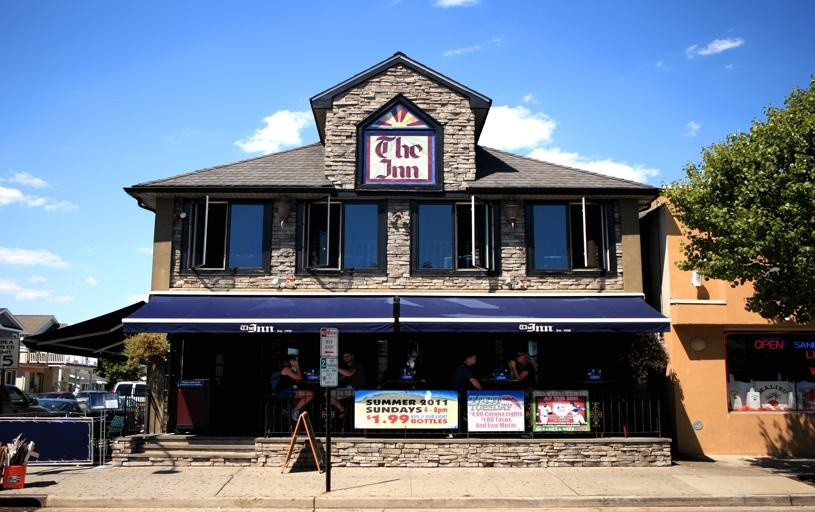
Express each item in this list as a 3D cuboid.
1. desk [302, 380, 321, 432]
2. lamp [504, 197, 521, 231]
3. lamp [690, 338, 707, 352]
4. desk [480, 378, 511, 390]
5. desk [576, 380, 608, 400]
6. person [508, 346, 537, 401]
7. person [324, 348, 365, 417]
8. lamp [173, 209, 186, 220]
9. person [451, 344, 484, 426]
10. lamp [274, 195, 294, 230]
[{"bbox_3d":[-3.089,4.850,29.408,0.572,1.678,1.302,-1,-12,-6],"label":"desk"},{"bbox_3d":[3.565,-1.390,30.620,0.520,1.108,0.291,-3,-12,6],"label":"lamp"},{"bbox_3d":[9.623,2.920,30.093,0.502,0.470,0.117,0,-12,-10],"label":"lamp"},{"bbox_3d":[2.902,4.143,29.635,0.942,0.402,0.782,-5,-11,18],"label":"desk"},{"bbox_3d":[6.069,4.334,29.598,0.728,0.407,0.732,0,-2,24],"label":"desk"},{"bbox_3d":[3.781,3.732,30.008,0.843,1.267,0.785,-3,-12,5],"label":"person"},{"bbox_3d":[-1.969,4.105,29.693,0.856,2.181,1.259,-6,-12,18],"label":"person"},{"bbox_3d":[-7.694,-1.394,30.639,0.377,0.338,0.149,-1,-12,-5],"label":"lamp"},{"bbox_3d":[1.885,4.370,29.108,0.914,2.405,0.631,-3,-12,2],"label":"person"},{"bbox_3d":[-4.187,-1.436,30.625,0.644,1.056,0.271,0,-12,-8],"label":"lamp"}]
